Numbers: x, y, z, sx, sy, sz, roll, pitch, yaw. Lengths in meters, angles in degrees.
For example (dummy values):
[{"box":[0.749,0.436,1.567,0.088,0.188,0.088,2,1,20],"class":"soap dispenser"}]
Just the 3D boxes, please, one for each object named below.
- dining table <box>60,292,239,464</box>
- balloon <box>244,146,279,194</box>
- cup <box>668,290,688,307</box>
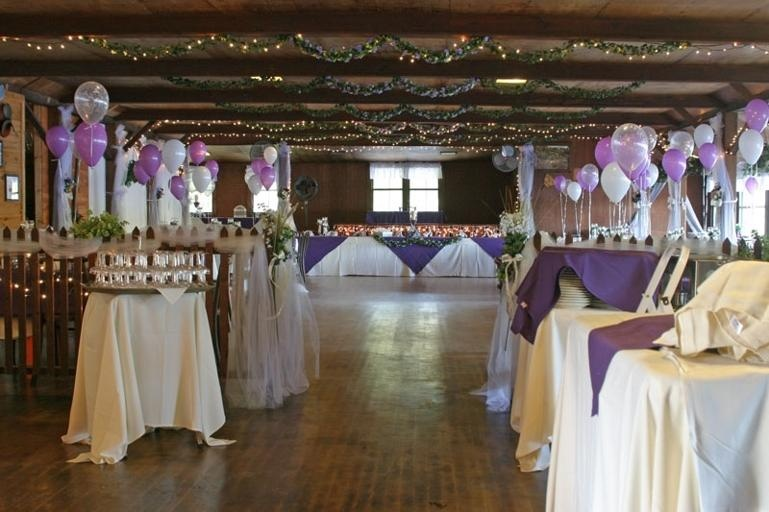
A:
[{"box":[-2.050,0.969,6.548,1.198,1.429,1.364,3,-5,-19],"class":"dining table"},{"box":[-2.410,-1.681,14.204,0.393,1.030,0.618,10,-16,18],"class":"balloon"},{"box":[2.378,0.350,5.820,0.115,0.105,0.300,8,14,29],"class":"cup"}]
